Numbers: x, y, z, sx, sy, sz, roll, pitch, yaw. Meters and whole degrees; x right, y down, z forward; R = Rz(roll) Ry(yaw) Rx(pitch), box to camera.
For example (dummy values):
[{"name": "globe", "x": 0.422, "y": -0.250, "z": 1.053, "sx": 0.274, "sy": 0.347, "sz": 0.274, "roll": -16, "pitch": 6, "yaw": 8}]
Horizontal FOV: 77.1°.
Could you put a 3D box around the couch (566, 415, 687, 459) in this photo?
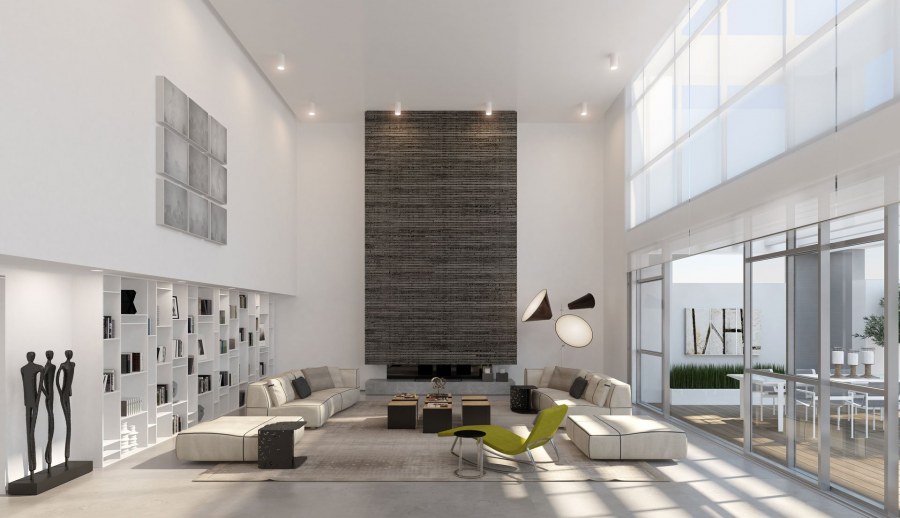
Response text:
[{"name": "couch", "x": 3.344, "y": 3.303, "z": 10.551, "sx": 1.616, "sy": 0.493, "sz": 1.640, "roll": -4, "pitch": -2, "yaw": -1}]

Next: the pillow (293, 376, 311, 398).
[{"name": "pillow", "x": -3.274, "y": 2.856, "z": 12.566, "sx": 0.129, "sy": 0.382, "sz": 0.434, "roll": -29, "pitch": -16, "yaw": 22}]

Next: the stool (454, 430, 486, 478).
[{"name": "stool", "x": 0.317, "y": 3.325, "z": 9.656, "sx": 0.631, "sy": 0.659, "sz": 0.609, "roll": 5, "pitch": -9, "yaw": -15}]

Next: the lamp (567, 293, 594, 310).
[{"name": "lamp", "x": 3.523, "y": 1.184, "z": 15.052, "sx": 0.632, "sy": 0.355, "sz": 0.359, "roll": -17, "pitch": -38, "yaw": 25}]

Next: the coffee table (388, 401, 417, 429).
[{"name": "coffee table", "x": -0.958, "y": 3.224, "z": 11.610, "sx": 0.464, "sy": 0.365, "sz": 0.806, "roll": 1, "pitch": -5, "yaw": 1}]

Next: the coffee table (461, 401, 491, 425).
[{"name": "coffee table", "x": 0.557, "y": 3.136, "z": 11.531, "sx": 0.482, "sy": 0.264, "sz": 0.463, "roll": 0, "pitch": -2, "yaw": -2}]

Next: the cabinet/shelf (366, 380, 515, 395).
[{"name": "cabinet/shelf", "x": -0.290, "y": 3.426, "z": 15.049, "sx": 3.836, "sy": 0.374, "sz": 0.522, "roll": 0, "pitch": 10, "yaw": 0}]

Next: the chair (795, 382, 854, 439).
[{"name": "chair", "x": 5.692, "y": 2.320, "z": 8.587, "sx": 0.764, "sy": 0.808, "sz": 0.915, "roll": -1, "pitch": -1, "yaw": 1}]

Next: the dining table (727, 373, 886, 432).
[{"name": "dining table", "x": 5.710, "y": 2.081, "z": 9.405, "sx": 1.268, "sy": 1.443, "sz": 1.146, "roll": 3, "pitch": -12, "yaw": -8}]

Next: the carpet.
[{"name": "carpet", "x": -0.494, "y": 3.528, "z": 10.345, "sx": 7.177, "sy": 0.321, "sz": 2.538, "roll": 0, "pitch": 9, "yaw": 1}]

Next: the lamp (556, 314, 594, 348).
[{"name": "lamp", "x": 3.206, "y": 1.886, "z": 14.598, "sx": 0.910, "sy": 0.763, "sz": 0.523, "roll": 3, "pitch": 11, "yaw": 20}]

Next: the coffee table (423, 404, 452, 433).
[{"name": "coffee table", "x": -0.241, "y": 3.197, "z": 11.299, "sx": 0.544, "sy": 0.363, "sz": 0.510, "roll": 0, "pitch": -3, "yaw": 0}]

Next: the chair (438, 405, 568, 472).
[{"name": "chair", "x": 0.944, "y": 3.131, "z": 9.988, "sx": 2.027, "sy": 0.964, "sz": 1.196, "roll": -6, "pitch": -11, "yaw": 28}]

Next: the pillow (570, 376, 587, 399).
[{"name": "pillow", "x": 2.933, "y": 2.868, "z": 12.575, "sx": 0.128, "sy": 0.395, "sz": 0.409, "roll": 32, "pitch": -25, "yaw": -22}]
